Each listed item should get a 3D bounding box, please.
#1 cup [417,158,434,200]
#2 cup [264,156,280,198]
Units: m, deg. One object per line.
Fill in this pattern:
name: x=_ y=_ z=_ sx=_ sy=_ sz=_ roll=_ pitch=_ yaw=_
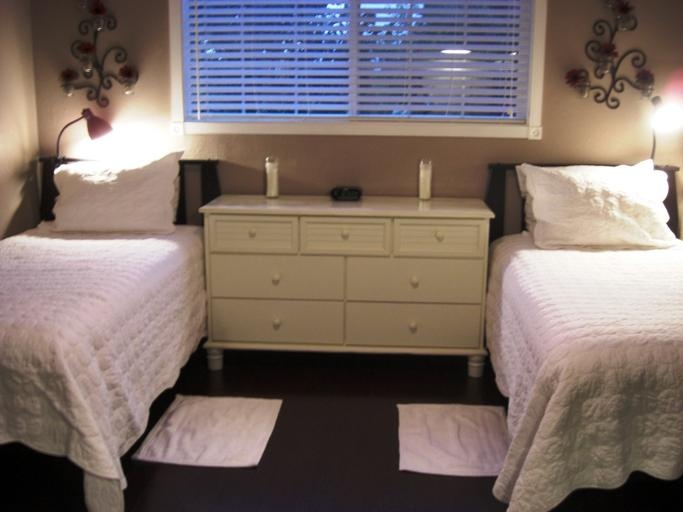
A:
cup: x=0.491 y=-0.449 z=3.462 sx=0.087 sy=0.223 sz=0.205 roll=0 pitch=13 yaw=8
cup: x=-0.409 y=-0.470 z=3.499 sx=0.091 sy=0.230 sz=0.180 roll=-4 pitch=13 yaw=-7
